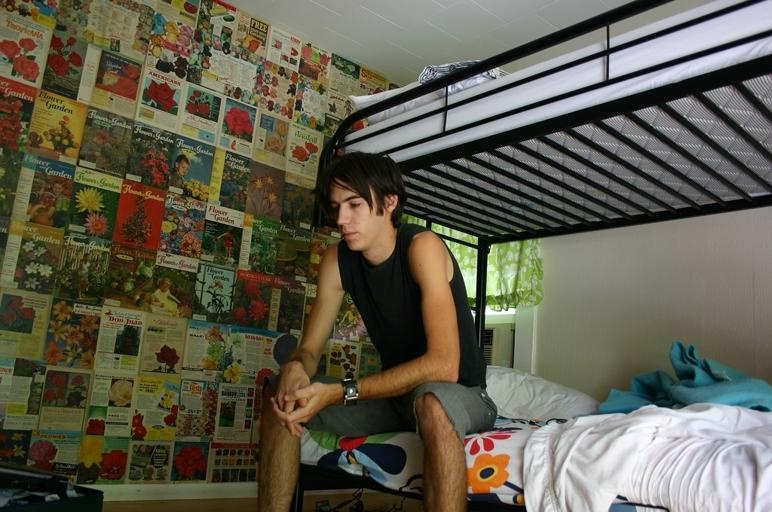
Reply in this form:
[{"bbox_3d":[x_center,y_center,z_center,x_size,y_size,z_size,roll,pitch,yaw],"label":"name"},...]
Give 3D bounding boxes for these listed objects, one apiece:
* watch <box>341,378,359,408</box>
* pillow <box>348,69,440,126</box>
[{"bbox_3d":[-0.138,0.515,1.917,0.062,0.095,0.091,-4,3,-11],"label":"watch"},{"bbox_3d":[0.013,-0.964,3.112,0.362,0.087,0.377,-22,7,-15],"label":"pillow"}]
